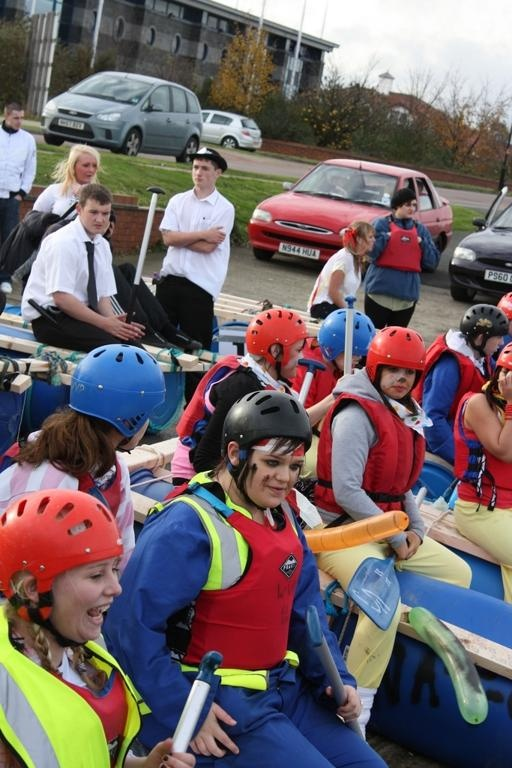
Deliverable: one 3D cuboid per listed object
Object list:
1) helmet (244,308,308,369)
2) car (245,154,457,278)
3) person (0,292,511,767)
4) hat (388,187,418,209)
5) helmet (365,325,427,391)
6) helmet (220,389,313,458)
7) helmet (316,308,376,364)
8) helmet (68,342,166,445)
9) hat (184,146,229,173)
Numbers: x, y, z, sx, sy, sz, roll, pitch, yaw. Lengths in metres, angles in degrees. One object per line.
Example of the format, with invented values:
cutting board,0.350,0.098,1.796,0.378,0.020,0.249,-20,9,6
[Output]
helmet,0.110,-0.255,3.504,0.344,0.294,0.246,-5,19,-4
car,2.400,-3.580,14.697,2.854,1.872,4.658,14,18,36
person,-0.067,0.572,2.122,1.082,1.073,0.659,4,-3,-4
hat,1.872,-2.381,8.364,0.289,0.267,0.260,15,10,28
helmet,0.794,-0.174,3.705,0.317,0.323,0.380,2,14,-22
helmet,0.047,0.125,2.161,0.210,0.197,0.262,2,3,-9
helmet,0.669,-0.362,4.844,0.444,0.347,0.340,15,23,31
helmet,-0.555,0.020,2.682,0.417,0.316,0.315,1,10,-22
hat,-0.464,-2.331,6.705,0.324,0.247,0.609,10,9,-4
